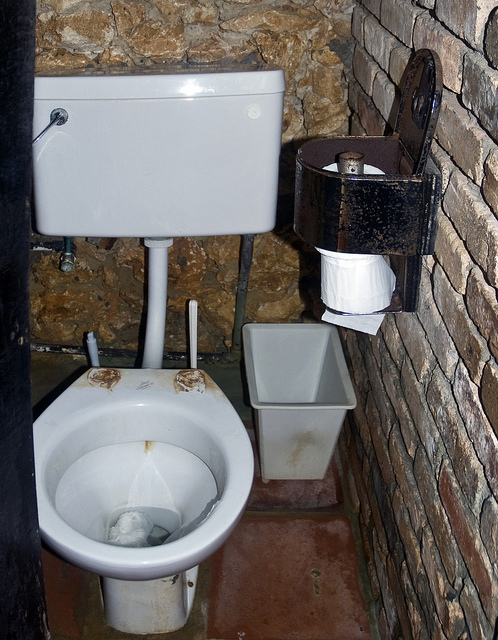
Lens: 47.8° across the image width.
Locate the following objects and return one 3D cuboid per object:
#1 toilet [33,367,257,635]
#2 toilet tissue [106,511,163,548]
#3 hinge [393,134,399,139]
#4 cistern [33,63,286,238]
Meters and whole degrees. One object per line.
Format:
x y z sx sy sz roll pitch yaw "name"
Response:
-0.213 0.296 1.146 0.413 0.504 0.518 2 50 -2 "toilet"
-0.223 0.402 1.076 0.071 0.054 0.118 0 -8 -1 "toilet tissue"
0.196 -0.250 0.761 0.007 0.008 0.011 2 -12 2 "hinge"
-0.179 -0.366 1.187 0.493 0.332 0.278 -2 30 -3 "cistern"
